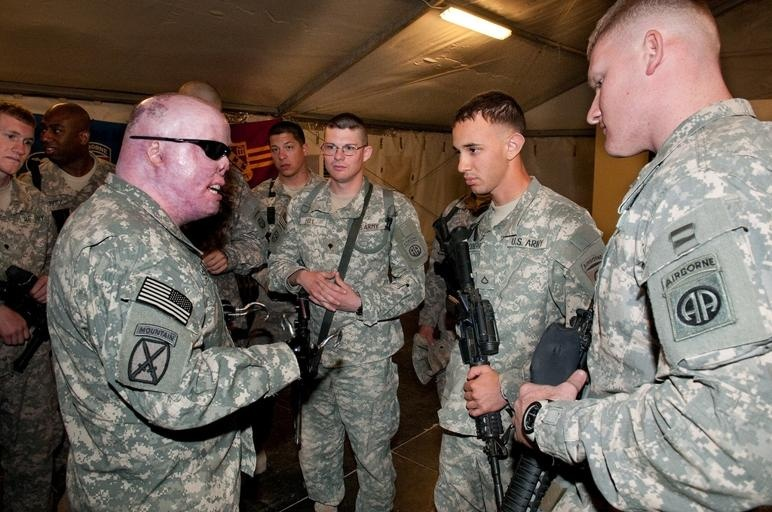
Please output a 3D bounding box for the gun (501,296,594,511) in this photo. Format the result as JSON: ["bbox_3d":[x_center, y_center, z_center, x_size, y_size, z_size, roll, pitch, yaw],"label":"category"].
[{"bbox_3d":[0.750,0.678,2.807,0.157,1.013,0.357,22,-5,7],"label":"gun"}]

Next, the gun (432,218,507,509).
[{"bbox_3d":[0.491,0.512,3.274,0.324,1.560,0.761,1,-8,-9],"label":"gun"}]

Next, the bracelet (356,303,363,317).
[{"bbox_3d":[-0.164,0.347,3.840,0.051,0.061,0.027,-4,9,-38],"label":"bracelet"}]
